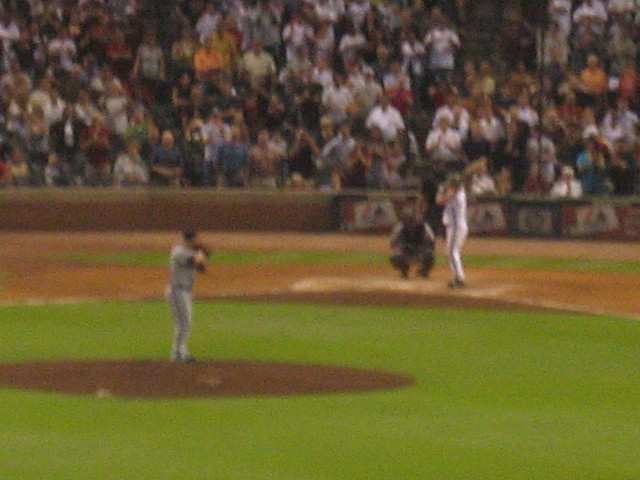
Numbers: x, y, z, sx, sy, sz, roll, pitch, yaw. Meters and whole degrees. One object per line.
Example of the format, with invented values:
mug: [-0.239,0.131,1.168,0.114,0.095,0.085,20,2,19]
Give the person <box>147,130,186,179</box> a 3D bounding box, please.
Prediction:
person: [-3.356,-1.788,36.229,0.553,1.214,0.466,-9,13,-38]

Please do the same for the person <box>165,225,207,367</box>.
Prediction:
person: [-2.248,0.930,27.745,0.703,2.201,1.032,0,-3,3]
